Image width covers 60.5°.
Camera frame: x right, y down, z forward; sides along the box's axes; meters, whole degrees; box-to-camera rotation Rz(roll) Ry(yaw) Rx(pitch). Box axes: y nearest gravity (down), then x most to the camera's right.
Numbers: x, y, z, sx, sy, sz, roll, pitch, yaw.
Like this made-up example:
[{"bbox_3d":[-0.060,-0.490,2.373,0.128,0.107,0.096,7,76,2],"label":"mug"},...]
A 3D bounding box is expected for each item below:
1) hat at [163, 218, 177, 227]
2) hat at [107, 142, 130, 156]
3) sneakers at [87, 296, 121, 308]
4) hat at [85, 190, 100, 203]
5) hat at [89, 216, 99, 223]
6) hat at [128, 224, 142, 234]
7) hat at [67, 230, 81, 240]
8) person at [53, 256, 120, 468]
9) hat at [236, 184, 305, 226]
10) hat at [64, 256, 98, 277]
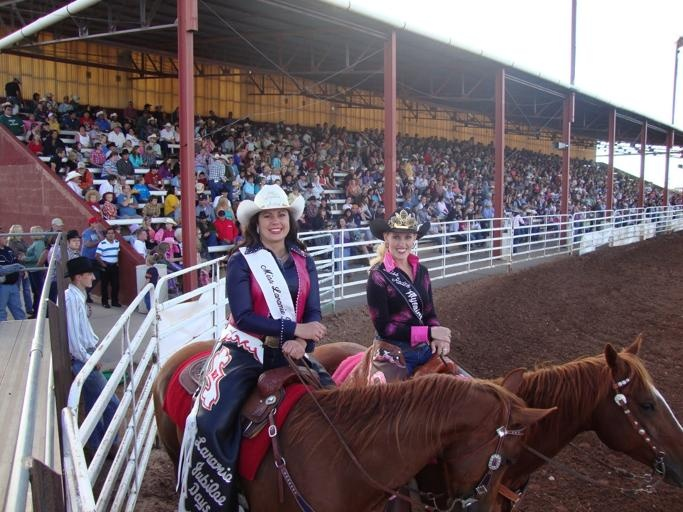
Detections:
[{"bbox_3d":[-3.586,-0.746,12.220,0.196,0.088,0.185,14,-14,46],"label":"hat"},{"bbox_3d":[-5.262,-2.532,13.771,0.530,0.446,0.259,4,-5,17],"label":"hat"},{"bbox_3d":[-4.491,0.846,11.106,0.467,0.261,0.165,5,8,18],"label":"sneakers"},{"bbox_3d":[-4.946,-1.218,11.705,0.210,0.349,0.240,3,-15,-12],"label":"hat"},{"bbox_3d":[-4.731,-0.714,11.169,0.200,0.118,0.181,-3,9,-5],"label":"hat"},{"bbox_3d":[-4.325,-0.541,12.255,0.239,0.083,0.260,-28,14,31],"label":"hat"},{"bbox_3d":[-4.511,-0.379,9.872,0.289,0.161,0.345,-1,-2,-37],"label":"hat"},{"bbox_3d":[-2.787,1.150,6.533,0.438,2.242,1.072,-5,10,-26],"label":"person"},{"bbox_3d":[-0.571,-0.452,4.615,0.592,0.294,0.609,-6,1,36],"label":"hat"},{"bbox_3d":[-2.939,0.093,6.628,0.312,0.158,0.303,-15,5,-4],"label":"hat"}]
